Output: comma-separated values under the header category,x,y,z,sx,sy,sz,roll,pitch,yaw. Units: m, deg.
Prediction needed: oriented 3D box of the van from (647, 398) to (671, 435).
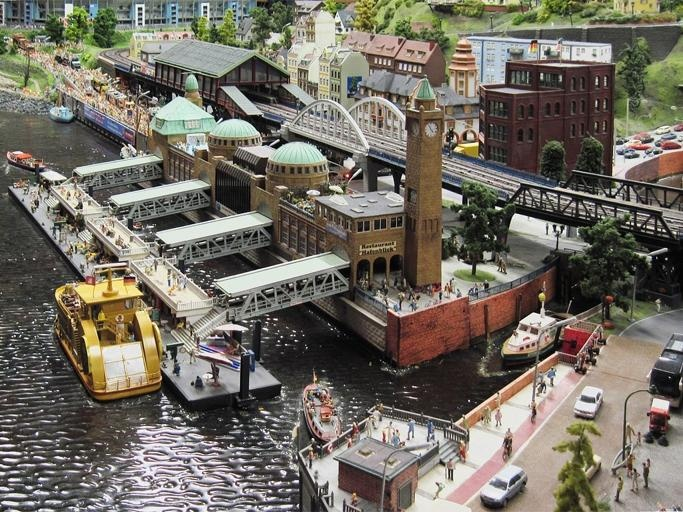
category,x,y,z,sx,sy,sz,roll,pitch,yaw
van,33.346,16.160,87.038,1.957,2.308,3.382,4,23,20

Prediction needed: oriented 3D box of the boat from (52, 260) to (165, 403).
category,x,y,z,sx,sy,sz,roll,pitch,yaw
boat,-27.959,7.958,98.506,8.731,12.823,15.218,-16,27,-37

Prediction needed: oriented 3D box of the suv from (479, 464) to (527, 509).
category,x,y,z,sx,sy,sz,roll,pitch,yaw
suv,15.091,21.714,77.340,2.168,1.922,4.989,17,30,35

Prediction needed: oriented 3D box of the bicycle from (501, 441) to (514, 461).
category,x,y,z,sx,sy,sz,roll,pitch,yaw
bicycle,16.465,19.147,82.664,0.930,1.863,1.196,6,22,13

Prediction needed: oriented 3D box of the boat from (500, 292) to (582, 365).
category,x,y,z,sx,sy,sz,roll,pitch,yaw
boat,24.785,9.639,107.416,4.577,6.959,13.877,8,17,35
